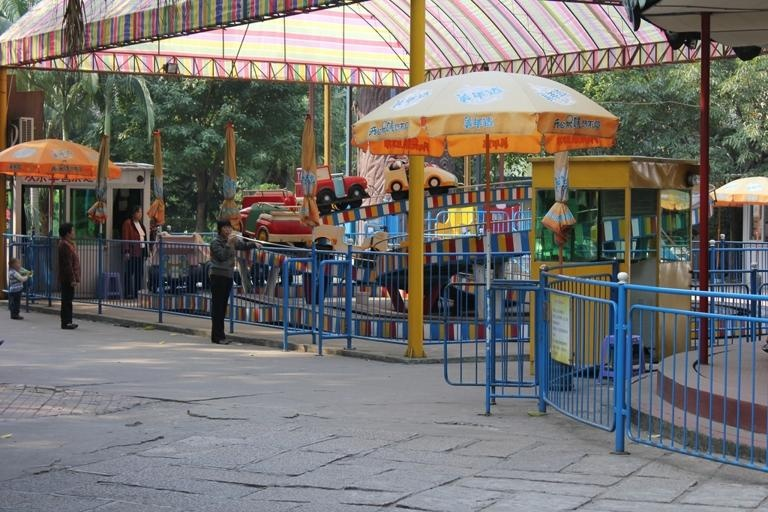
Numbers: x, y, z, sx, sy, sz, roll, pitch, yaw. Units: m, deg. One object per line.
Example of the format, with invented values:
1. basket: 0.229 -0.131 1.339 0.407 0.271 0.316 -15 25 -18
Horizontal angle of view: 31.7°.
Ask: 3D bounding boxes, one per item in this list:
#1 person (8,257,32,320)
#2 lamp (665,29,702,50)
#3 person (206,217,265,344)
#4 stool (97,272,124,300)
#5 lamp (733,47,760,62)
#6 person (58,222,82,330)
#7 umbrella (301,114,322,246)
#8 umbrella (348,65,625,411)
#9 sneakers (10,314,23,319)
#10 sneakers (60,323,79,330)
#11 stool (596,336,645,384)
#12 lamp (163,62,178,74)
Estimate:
1. person: -8.449 0.769 31.204 0.422 1.419 0.722 1 -1 -15
2. lamp: 5.348 -3.962 24.677 0.863 0.394 0.286 -2 0 -2
3. person: -3.283 0.547 28.167 0.711 2.598 0.698 1 -1 -8
4. stool: -6.357 0.723 31.419 0.547 0.786 0.743 1 0 -13
5. lamp: 6.934 -3.883 25.868 0.500 0.202 1.121 0 -1 17
6. person: -6.936 0.462 29.749 0.462 2.337 0.735 1 -1 -14
7. umbrella: -1.670 -1.951 30.556 0.390 2.532 0.973 1 -1 -3
8. umbrella: 1.928 -0.675 25.081 4.976 5.580 5.189 1 1 31
9. sneakers: -8.417 1.425 31.030 0.273 0.102 0.363 1 -1 -21
10. sneakers: -6.908 1.565 29.723 0.282 0.136 0.165 -1 4 12
11. stool: 4.126 1.767 23.834 0.656 0.777 1.261 9 11 16
12. lamp: -5.595 -4.936 35.499 0.278 0.308 0.297 1 -6 -23
